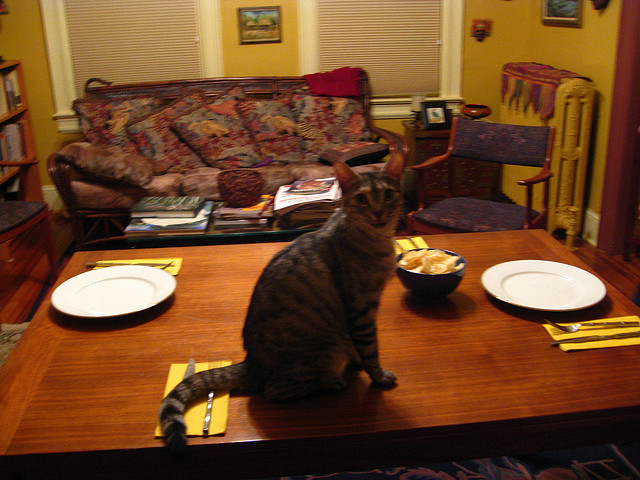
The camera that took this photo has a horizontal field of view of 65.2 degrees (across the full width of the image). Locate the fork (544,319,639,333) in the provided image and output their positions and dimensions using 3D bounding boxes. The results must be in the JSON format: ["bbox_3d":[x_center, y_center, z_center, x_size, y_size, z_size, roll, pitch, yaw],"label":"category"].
[{"bbox_3d":[0.815,0.258,1.488,0.318,0.026,0.035,1,16,3],"label":"fork"}]

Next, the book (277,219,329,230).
[{"bbox_3d":[-0.104,-0.084,3.085,0.200,0.027,0.138,-2,15,-7],"label":"book"}]

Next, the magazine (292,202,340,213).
[{"bbox_3d":[-0.040,-0.195,3.019,0.184,0.026,0.133,-1,24,3],"label":"magazine"}]

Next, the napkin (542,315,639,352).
[{"bbox_3d":[0.786,0.284,1.448,0.255,0.009,0.094,-4,28,-6],"label":"napkin"}]

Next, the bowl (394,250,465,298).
[{"bbox_3d":[0.372,0.102,1.666,0.239,0.077,0.180,0,23,14],"label":"bowl"}]

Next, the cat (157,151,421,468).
[{"bbox_3d":[-0.080,0.177,1.427,1.078,0.643,0.385,-11,-9,17],"label":"cat"}]

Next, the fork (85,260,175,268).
[{"bbox_3d":[-0.707,0.092,1.880,0.244,0.021,0.019,-2,28,-1],"label":"fork"}]

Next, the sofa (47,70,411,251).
[{"bbox_3d":[-0.632,-0.704,3.964,2.943,1.025,0.671,1,54,18],"label":"sofa"}]

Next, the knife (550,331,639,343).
[{"bbox_3d":[0.799,0.282,1.445,0.233,0.007,0.024,-3,5,-3],"label":"knife"}]

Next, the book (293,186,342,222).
[{"bbox_3d":[-0.020,-0.180,2.941,0.378,0.054,0.280,-4,18,-5],"label":"book"}]
